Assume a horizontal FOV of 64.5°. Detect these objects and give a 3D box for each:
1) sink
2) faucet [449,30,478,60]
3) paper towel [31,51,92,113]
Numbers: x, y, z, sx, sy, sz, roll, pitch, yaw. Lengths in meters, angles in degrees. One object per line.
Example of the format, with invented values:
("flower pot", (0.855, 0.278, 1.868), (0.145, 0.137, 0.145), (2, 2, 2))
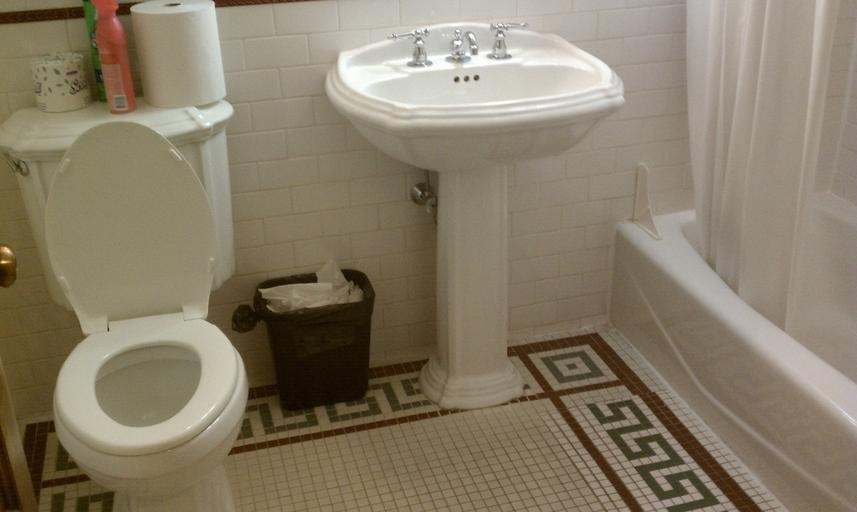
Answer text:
("sink", (0.151, -0.576, 2.374), (0.891, 0.337, 0.636), (-11, 46, -11))
("faucet", (0.126, -0.781, 2.511), (0.066, 0.088, 0.092), (-29, 49, -34))
("paper towel", (-1.229, -0.579, 2.286), (0.201, 0.197, 0.198), (-10, 43, -27))
